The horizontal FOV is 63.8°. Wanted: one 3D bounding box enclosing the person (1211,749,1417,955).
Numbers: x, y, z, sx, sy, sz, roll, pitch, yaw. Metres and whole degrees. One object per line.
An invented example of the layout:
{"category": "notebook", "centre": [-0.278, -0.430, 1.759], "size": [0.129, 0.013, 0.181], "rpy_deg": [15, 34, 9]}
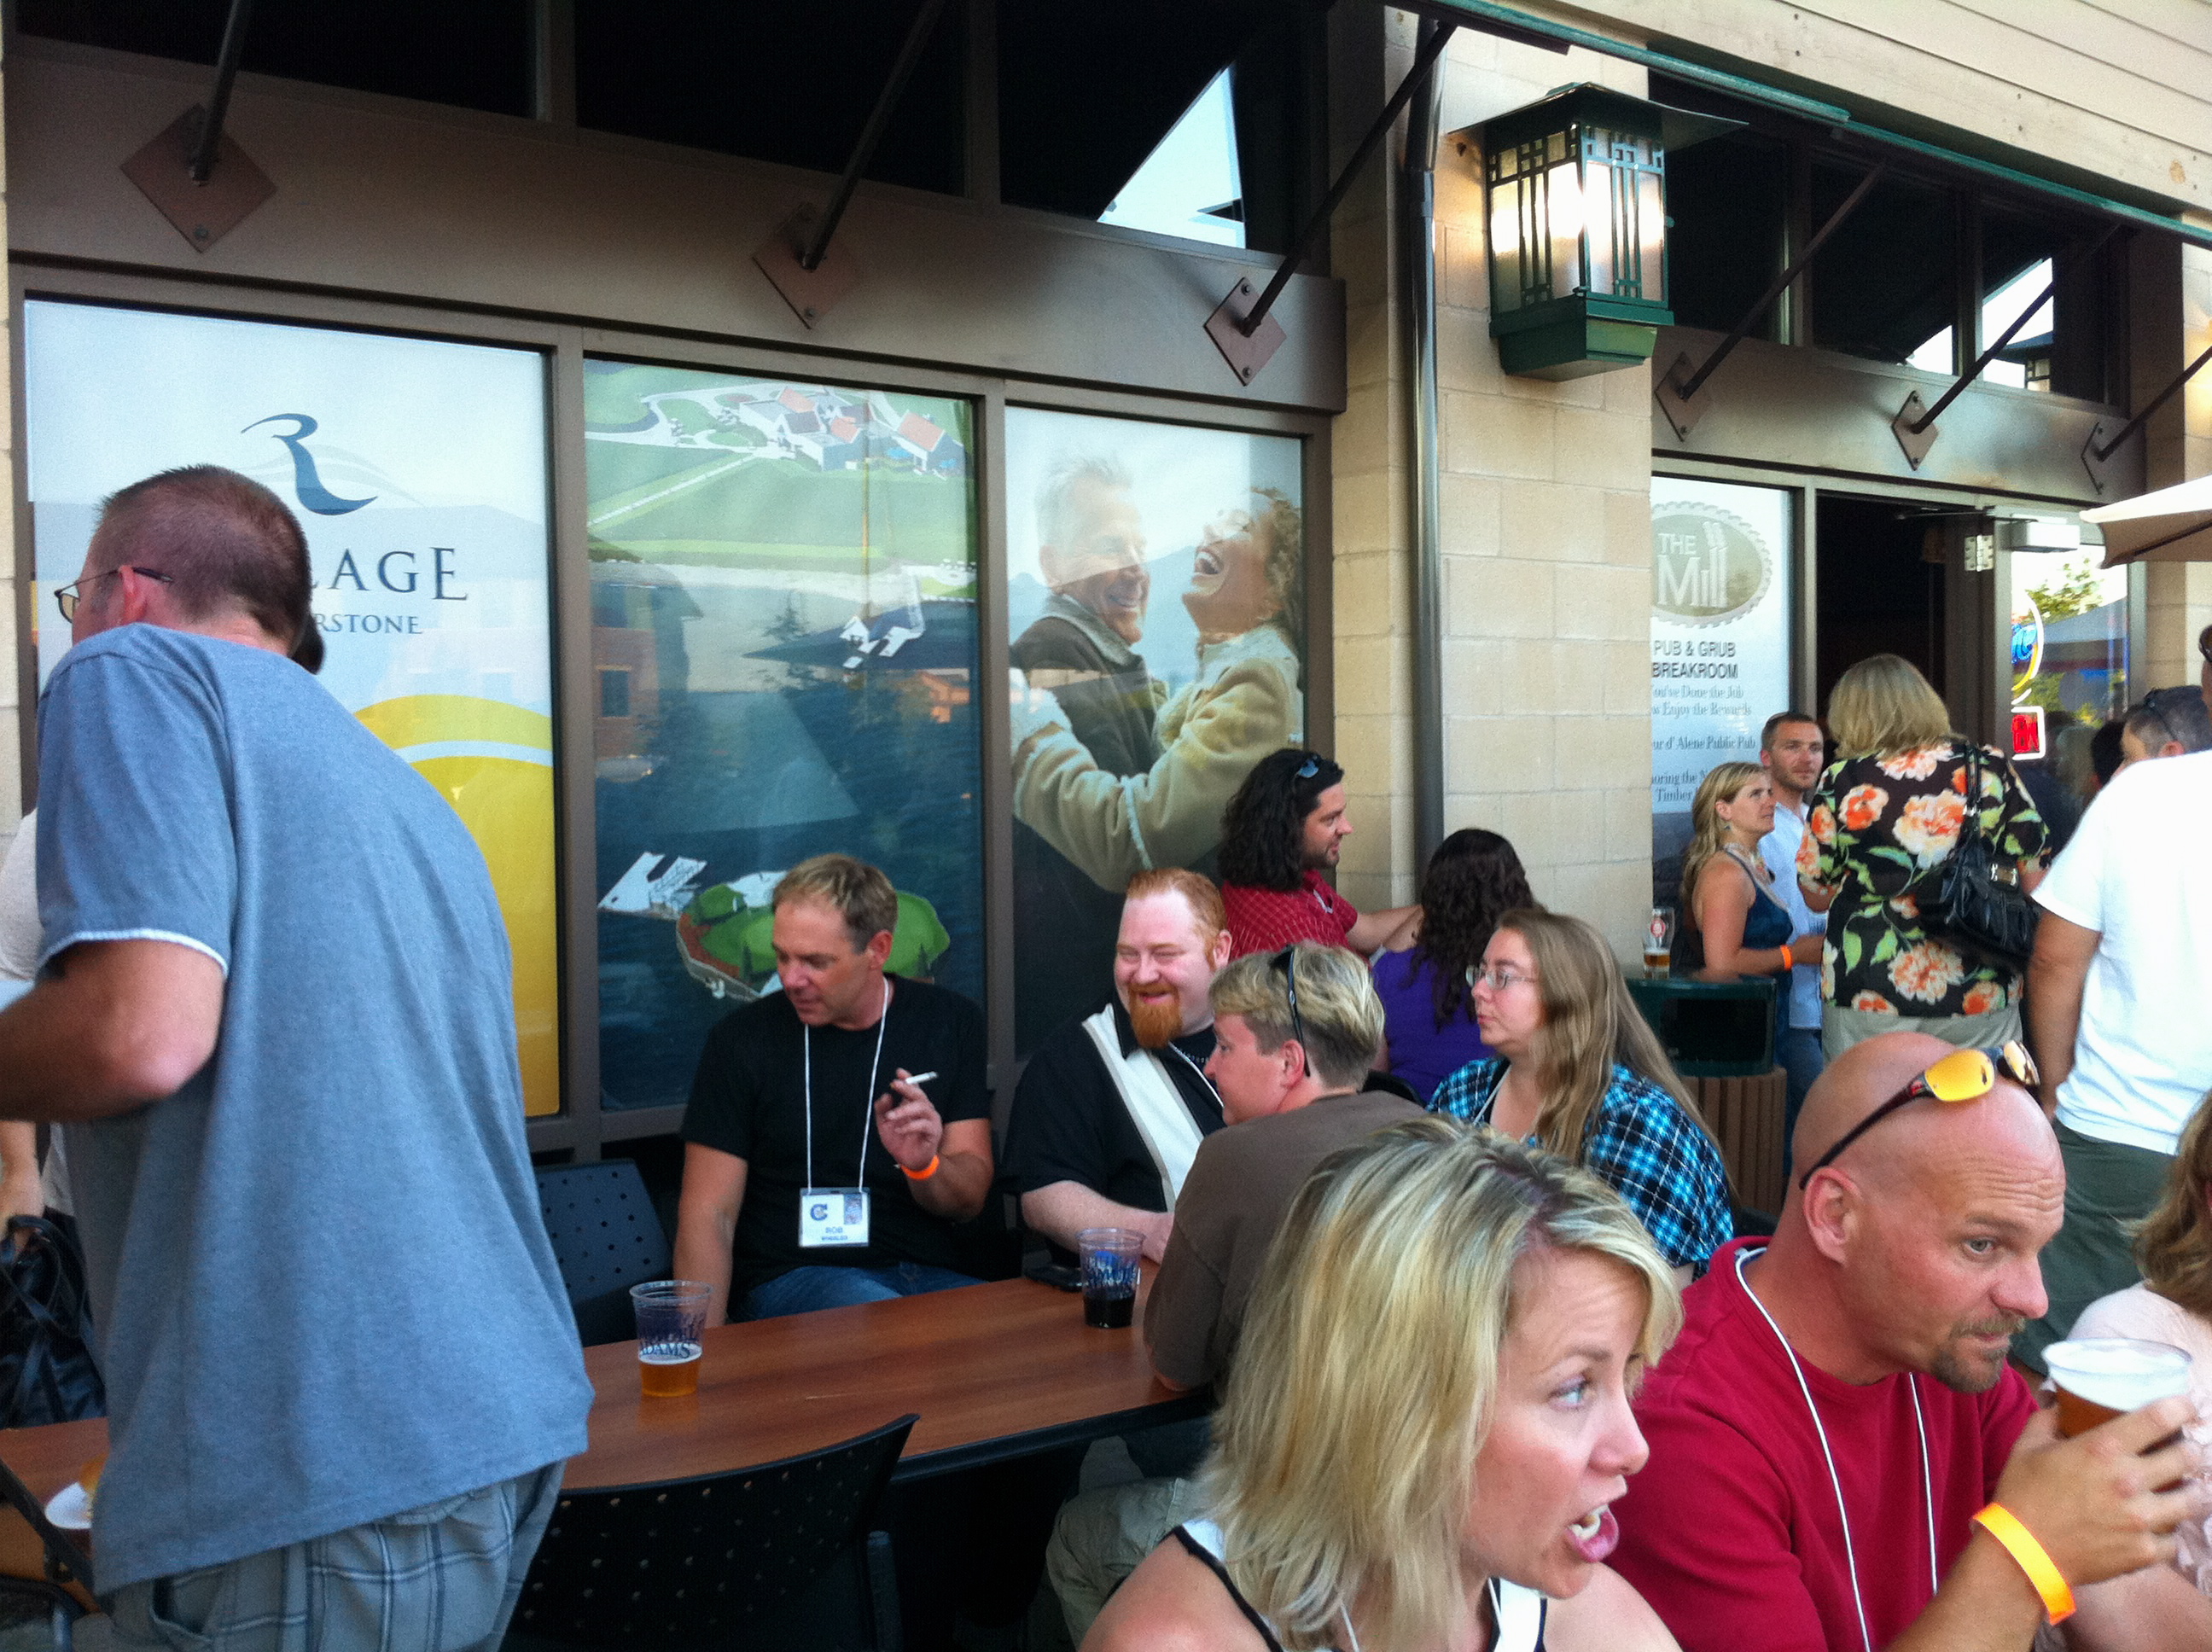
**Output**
{"category": "person", "centre": [0.625, 0.078, 5.455], "size": [0.545, 0.669, 0.798], "rpy_deg": [0, 21, 4]}

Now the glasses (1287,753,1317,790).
{"category": "glasses", "centre": [0.598, -0.161, 5.409], "size": [0.091, 0.100, 0.029], "rpy_deg": [-2, 2, -11]}

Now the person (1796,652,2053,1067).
{"category": "person", "centre": [2.451, 0.299, 5.409], "size": [0.663, 1.708, 0.556], "rpy_deg": [-4, 21, 11]}

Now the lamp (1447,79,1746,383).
{"category": "lamp", "centre": [1.554, -1.829, 6.032], "size": [0.850, 0.898, 0.853], "rpy_deg": [0, -1, -44]}

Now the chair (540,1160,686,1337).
{"category": "chair", "centre": [-1.109, 0.889, 3.985], "size": [0.312, 0.412, 0.325], "rpy_deg": [-3, 7, -43]}

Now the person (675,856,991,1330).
{"category": "person", "centre": [-0.637, 0.608, 4.099], "size": [0.738, 1.036, 0.533], "rpy_deg": [-4, 5, -9]}

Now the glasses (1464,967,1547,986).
{"category": "glasses", "centre": [0.870, 0.315, 3.748], "size": [0.110, 0.032, 0.110], "rpy_deg": [5, -5, -16]}

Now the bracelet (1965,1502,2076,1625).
{"category": "bracelet", "centre": [1.080, 0.869, 2.097], "size": [0.041, 0.120, 0.125], "rpy_deg": [-31, 29, 6]}

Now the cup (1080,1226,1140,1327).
{"category": "cup", "centre": [0.005, 0.880, 3.486], "size": [0.141, 0.164, 0.143], "rpy_deg": [1, -3, 0]}

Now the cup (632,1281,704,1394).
{"category": "cup", "centre": [-0.766, 0.889, 3.097], "size": [0.152, 0.173, 0.160], "rpy_deg": [-2, -10, 0]}

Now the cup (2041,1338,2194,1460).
{"category": "cup", "centre": [1.242, 0.685, 2.196], "size": [0.128, 0.107, 0.140], "rpy_deg": [-3, -2, 0]}
